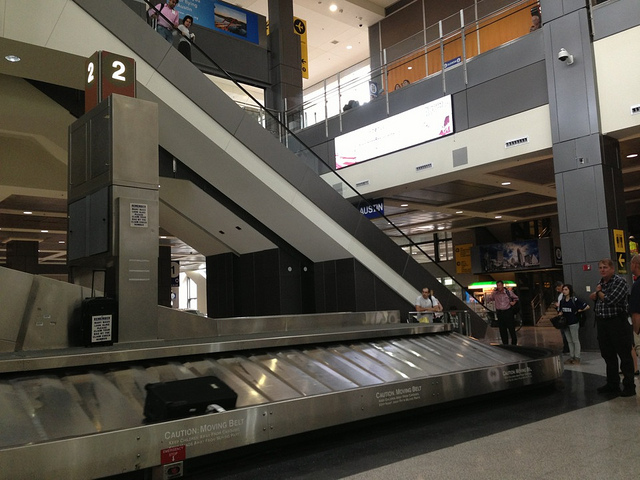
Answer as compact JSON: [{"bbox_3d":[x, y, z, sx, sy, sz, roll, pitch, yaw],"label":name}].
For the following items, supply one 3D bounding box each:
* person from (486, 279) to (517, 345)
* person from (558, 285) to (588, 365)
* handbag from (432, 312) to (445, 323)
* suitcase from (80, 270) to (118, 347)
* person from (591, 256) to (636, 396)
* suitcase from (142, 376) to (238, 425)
[{"bbox_3d":[4.444,1.754,11.931,0.503,1.498,1.149,-5,-9,10],"label":"person"},{"bbox_3d":[4.897,1.608,9.605,0.497,1.400,1.582,-8,-10,25],"label":"person"},{"bbox_3d":[2.326,1.539,9.788,0.193,0.166,0.768,-7,-10,14],"label":"handbag"},{"bbox_3d":[-2.436,0.756,5.563,0.351,0.850,1.011,-1,-10,-17],"label":"suitcase"},{"bbox_3d":[3.777,1.115,6.457,0.398,1.698,0.425,0,-9,-21],"label":"person"},{"bbox_3d":[-1.102,1.330,4.244,0.579,0.271,0.352,1,12,-32],"label":"suitcase"}]
